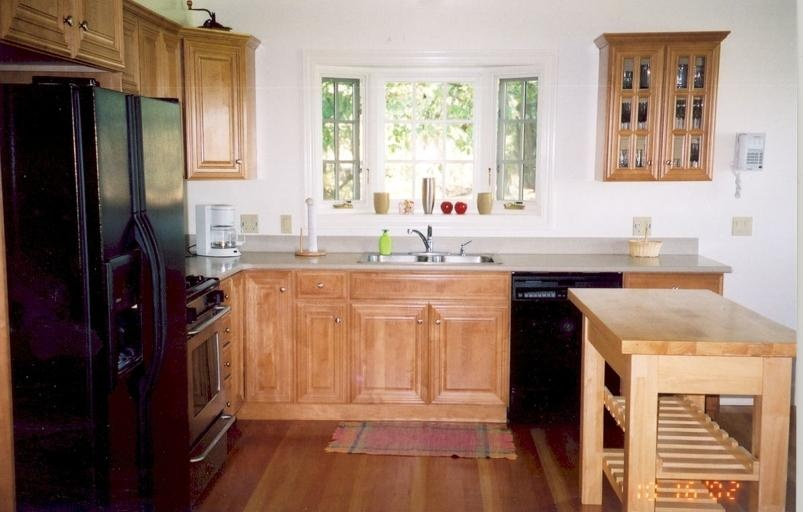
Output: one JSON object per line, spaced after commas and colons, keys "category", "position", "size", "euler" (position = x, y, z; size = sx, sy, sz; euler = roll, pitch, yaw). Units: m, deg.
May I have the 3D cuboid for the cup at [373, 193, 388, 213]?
{"category": "cup", "position": [-0.155, -0.448, 5.039], "size": [0.139, 0.174, 0.147], "euler": [0, 11, 0]}

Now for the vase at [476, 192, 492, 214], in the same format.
{"category": "vase", "position": [0.683, -0.437, 4.956], "size": [0.166, 0.187, 0.160], "euler": [0, 1, 2]}

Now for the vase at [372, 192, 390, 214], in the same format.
{"category": "vase", "position": [-0.157, -0.439, 4.989], "size": [0.163, 0.179, 0.162], "euler": [2, 5, 20]}

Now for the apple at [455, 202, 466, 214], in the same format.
{"category": "apple", "position": [0.491, -0.398, 4.958], "size": [0.108, 0.101, 0.076], "euler": [-2, 11, -11]}

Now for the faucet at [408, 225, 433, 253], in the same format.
{"category": "faucet", "position": [0.157, -0.136, 4.788], "size": [0.194, 0.220, 0.341], "euler": [0, 11, 3]}

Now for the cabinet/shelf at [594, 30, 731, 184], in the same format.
{"category": "cabinet/shelf", "position": [1.909, -1.127, 4.473], "size": [1.223, 1.385, 0.422], "euler": [0, 5, 4]}

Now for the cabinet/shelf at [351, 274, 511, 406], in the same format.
{"category": "cabinet/shelf", "position": [0.252, 0.555, 4.390], "size": [1.006, 0.822, 0.408], "euler": [0, 2, 3]}

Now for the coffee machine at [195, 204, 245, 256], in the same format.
{"category": "coffee machine", "position": [-1.402, -0.204, 4.658], "size": [0.369, 0.380, 0.239], "euler": [1, 7, 5]}

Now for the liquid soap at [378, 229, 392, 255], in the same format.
{"category": "liquid soap", "position": [-0.124, -0.123, 4.805], "size": [0.100, 0.205, 0.249], "euler": [0, 11, -1]}

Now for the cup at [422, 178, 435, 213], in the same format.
{"category": "cup", "position": [0.244, -0.503, 4.998], "size": [0.087, 0.290, 0.157], "euler": [9, 14, 38]}

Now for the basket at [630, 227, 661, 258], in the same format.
{"category": "basket", "position": [1.906, -0.120, 4.734], "size": [0.218, 0.223, 0.323], "euler": [5, 12, 23]}

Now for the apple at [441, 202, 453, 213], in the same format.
{"category": "apple", "position": [0.380, -0.399, 4.960], "size": [0.105, 0.100, 0.070], "euler": [-2, 11, -10]}

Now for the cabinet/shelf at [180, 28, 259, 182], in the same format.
{"category": "cabinet/shelf", "position": [-1.349, -1.119, 4.490], "size": [0.499, 1.068, 0.152], "euler": [-4, 12, -18]}

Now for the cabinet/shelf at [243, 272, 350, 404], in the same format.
{"category": "cabinet/shelf", "position": [-0.744, 0.688, 4.650], "size": [0.821, 0.985, 0.588], "euler": [-3, -21, -3]}

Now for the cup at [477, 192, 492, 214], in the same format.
{"category": "cup", "position": [0.707, -0.445, 5.008], "size": [0.160, 0.177, 0.114], "euler": [-3, 11, -15]}

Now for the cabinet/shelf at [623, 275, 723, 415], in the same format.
{"category": "cabinet/shelf", "position": [1.950, 0.540, 4.705], "size": [0.943, 0.936, 0.959], "euler": [-1, 6, 3]}
